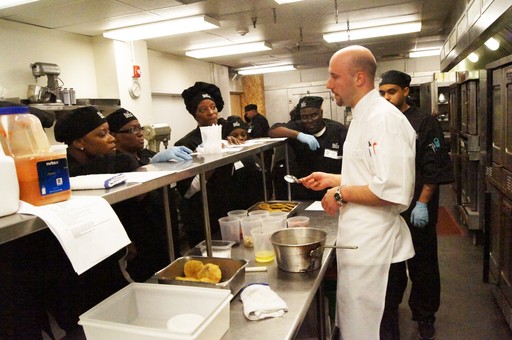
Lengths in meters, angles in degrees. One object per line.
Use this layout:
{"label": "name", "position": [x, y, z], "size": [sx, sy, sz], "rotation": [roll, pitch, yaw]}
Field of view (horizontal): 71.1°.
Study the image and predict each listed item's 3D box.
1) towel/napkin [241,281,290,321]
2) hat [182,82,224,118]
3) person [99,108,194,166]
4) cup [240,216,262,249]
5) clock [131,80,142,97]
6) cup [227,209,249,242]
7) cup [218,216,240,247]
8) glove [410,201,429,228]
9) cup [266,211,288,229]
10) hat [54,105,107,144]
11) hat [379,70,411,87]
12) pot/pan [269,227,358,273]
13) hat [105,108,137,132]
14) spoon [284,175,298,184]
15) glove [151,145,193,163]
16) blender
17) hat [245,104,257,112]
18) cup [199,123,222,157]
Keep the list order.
{"label": "towel/napkin", "position": [0.026, 0.703, 1.922], "size": [0.216, 0.093, 0.232], "rotation": [-10, 15, -24]}
{"label": "hat", "position": [-0.570, -0.803, 3.733], "size": [0.426, 0.391, 0.146], "rotation": [0, 32, -28]}
{"label": "person", "position": [-0.961, -0.266, 3.187], "size": [1.013, 0.379, 0.425], "rotation": [19, 21, 27]}
{"label": "cup", "position": [-0.059, 0.435, 2.662], "size": [0.158, 0.154, 0.153], "rotation": [-2, 10, 0]}
{"label": "clock", "position": [-2.082, -1.398, 6.193], "size": [0.057, 0.302, 0.335], "rotation": [0, 4, 16]}
{"label": "cup", "position": [-0.133, 0.411, 2.811], "size": [0.179, 0.168, 0.177], "rotation": [-2, 8, 0]}
{"label": "cup", "position": [-0.183, 0.429, 2.683], "size": [0.177, 0.167, 0.172], "rotation": [-8, 14, 2]}
{"label": "glove", "position": [1.437, 0.392, 3.186], "size": [0.171, 0.209, 0.082], "rotation": [1, 4, -16]}
{"label": "cup", "position": [0.172, 0.382, 2.751], "size": [0.111, 0.083, 0.113], "rotation": [-3, 10, 0]}
{"label": "hat", "position": [-1.249, -0.329, 2.603], "size": [0.337, 0.167, 0.249], "rotation": [-24, 13, 5]}
{"label": "hat", "position": [1.353, -0.867, 3.457], "size": [0.246, 0.117, 0.182], "rotation": [-2, 12, -2]}
{"label": "pot/pan", "position": [0.326, 0.491, 2.223], "size": [0.462, 0.158, 0.272], "rotation": [3, 6, 38]}
{"label": "hat", "position": [-1.203, -0.451, 3.193], "size": [0.254, 0.097, 0.181], "rotation": [-22, 12, 24]}
{"label": "spoon", "position": [0.275, 0.071, 2.819], "size": [0.164, 0.048, 0.028], "rotation": [15, -6, -9]}
{"label": "glove", "position": [-0.559, -0.100, 2.376], "size": [0.278, 0.087, 0.325], "rotation": [-7, 14, -11]}
{"label": "blender", "position": [-2.842, -1.137, 4.783], "size": [0.380, 0.554, 0.489], "rotation": [19, 13, 26]}
{"label": "hat", "position": [-0.113, -1.382, 8.003], "size": [0.240, 0.128, 0.174], "rotation": [-7, 10, 7]}
{"label": "cup", "position": [-0.308, -0.209, 2.467], "size": [0.195, 0.184, 0.192], "rotation": [-4, 0, 0]}
